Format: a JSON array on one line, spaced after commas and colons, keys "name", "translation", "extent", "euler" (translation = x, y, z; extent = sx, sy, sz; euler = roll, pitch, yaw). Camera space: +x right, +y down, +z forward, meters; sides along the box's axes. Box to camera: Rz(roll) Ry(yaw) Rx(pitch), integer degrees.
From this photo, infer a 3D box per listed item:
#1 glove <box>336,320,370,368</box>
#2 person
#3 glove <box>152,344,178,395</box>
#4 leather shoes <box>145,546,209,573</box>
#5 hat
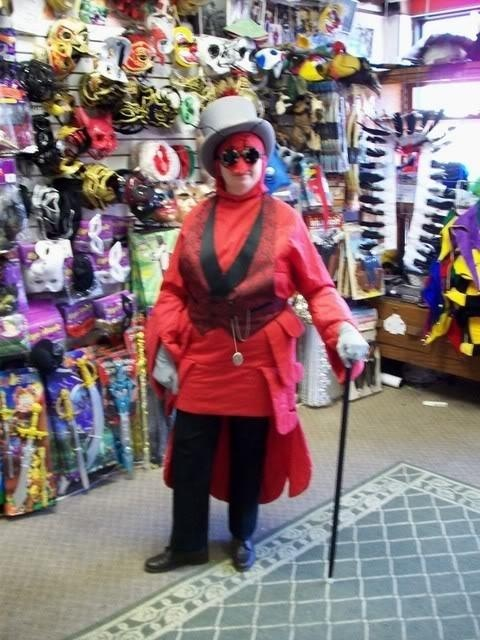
[{"name": "glove", "translation": [0.286, 0.059, 1.296], "extent": [0.072, 0.044, 0.117], "euler": [-28, 60, 3]}, {"name": "person", "translation": [0.047, 0.100, 1.483], "extent": [0.658, 1.458, 0.326], "euler": [3, 13, 17]}, {"name": "glove", "translation": [-0.219, 0.148, 1.469], "extent": [0.039, 0.123, 0.090], "euler": [-22, 25, -23]}, {"name": "leather shoes", "translation": [-0.209, 0.768, 1.631], "extent": [0.217, 0.092, 0.077], "euler": [2, 1, -10]}, {"name": "hat", "translation": [-0.010, -0.533, 1.419], "extent": [0.215, 0.223, 0.184], "euler": [-1, 12, -1]}]
